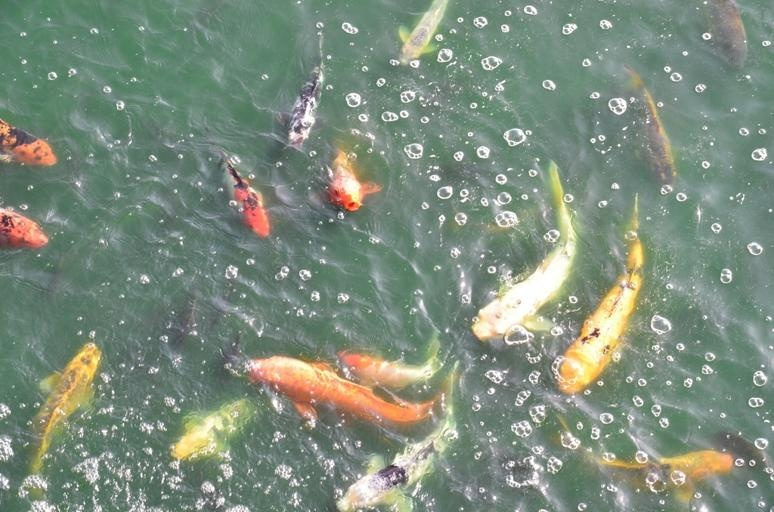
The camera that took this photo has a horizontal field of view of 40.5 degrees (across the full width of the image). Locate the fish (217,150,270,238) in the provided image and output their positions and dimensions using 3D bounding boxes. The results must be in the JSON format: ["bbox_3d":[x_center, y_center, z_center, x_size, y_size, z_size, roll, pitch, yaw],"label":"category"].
[{"bbox_3d":[-1.543,-0.579,11.931,0.313,0.461,1.109,-22,85,-4],"label":"fish"}]
